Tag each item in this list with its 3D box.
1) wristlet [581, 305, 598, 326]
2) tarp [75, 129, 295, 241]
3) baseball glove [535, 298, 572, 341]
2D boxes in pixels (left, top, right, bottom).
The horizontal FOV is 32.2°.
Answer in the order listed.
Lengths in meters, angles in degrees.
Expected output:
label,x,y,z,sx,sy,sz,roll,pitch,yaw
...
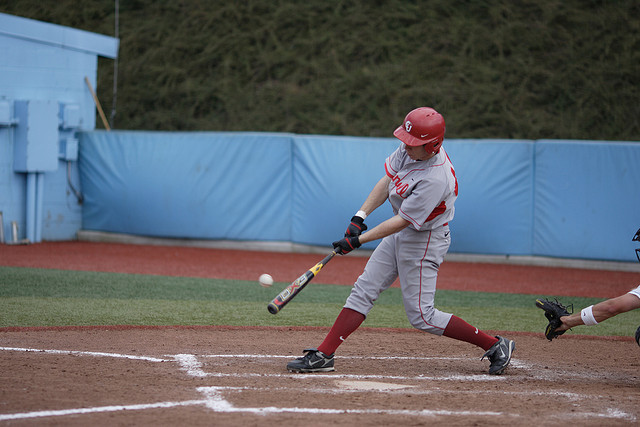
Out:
label,x,y,z,sx,sy,sz,roll,pitch,yaw
wristlet,4.374,1.696,18.216,0.223,0.271,0.293,-13,-18,30
tarp,-3.123,-0.648,25.464,5.519,2.346,0.827,2,-3,22
baseball glove,3.897,1.758,18.592,0.498,0.682,0.353,-14,1,6
